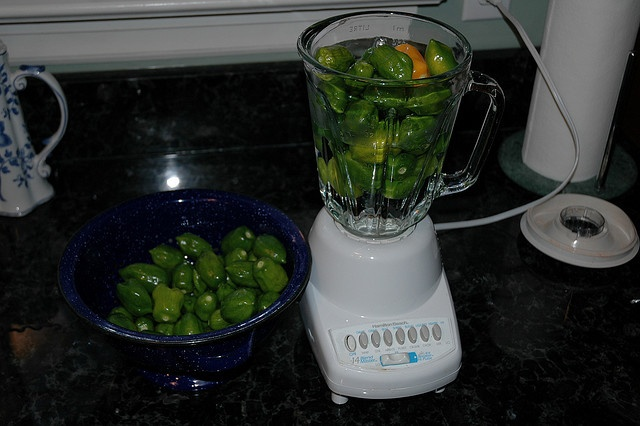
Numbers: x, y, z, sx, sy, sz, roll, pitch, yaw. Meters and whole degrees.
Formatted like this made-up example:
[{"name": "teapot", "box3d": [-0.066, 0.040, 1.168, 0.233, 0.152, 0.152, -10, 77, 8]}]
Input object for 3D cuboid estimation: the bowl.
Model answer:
[{"name": "bowl", "box3d": [-0.267, 0.089, 0.904, 0.337, 0.165, 0.362, 1, 41, -1]}]
